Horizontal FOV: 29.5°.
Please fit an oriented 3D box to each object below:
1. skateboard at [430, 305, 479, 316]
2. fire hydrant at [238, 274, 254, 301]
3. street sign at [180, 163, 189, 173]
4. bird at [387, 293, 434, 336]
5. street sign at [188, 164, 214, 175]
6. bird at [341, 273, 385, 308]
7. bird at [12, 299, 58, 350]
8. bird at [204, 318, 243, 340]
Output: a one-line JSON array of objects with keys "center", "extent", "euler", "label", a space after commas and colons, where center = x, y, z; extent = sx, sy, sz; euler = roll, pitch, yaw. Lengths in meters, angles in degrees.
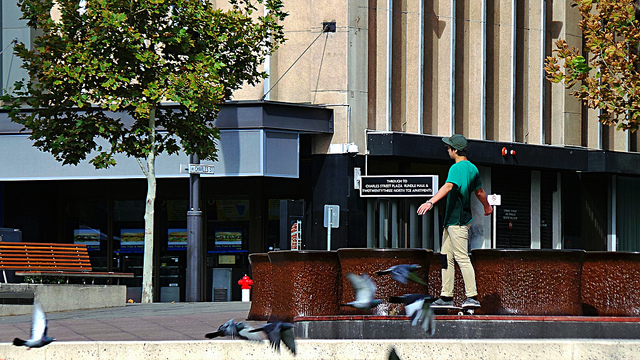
[{"center": [3.179, 2.973, 28.249], "extent": [1.536, 0.211, 0.419], "euler": [-1, -5, 6], "label": "skateboard"}, {"center": [-2.525, 3.580, 40.797], "extent": [0.405, 0.871, 0.570], "euler": [0, -9, -4], "label": "fire hydrant"}, {"center": [-4.286, -0.360, 38.027], "extent": [0.393, 0.256, 0.213], "euler": [1, 2, -3], "label": "street sign"}, {"center": [1.979, 2.683, 25.655], "extent": [0.818, 0.427, 1.076], "euler": [-8, 5, -5], "label": "bird"}, {"center": [-3.801, -0.368, 38.345], "extent": [0.436, 0.339, 0.973], "euler": [-7, -11, 35], "label": "street sign"}, {"center": [0.874, 2.341, 25.306], "extent": [0.701, 0.318, 0.820], "euler": [-7, -40, 17], "label": "bird"}, {"center": [-6.171, 3.288, 25.999], "extent": [0.943, 0.645, 1.216], "euler": [3, 3, -8], "label": "bird"}, {"center": [-2.041, 3.132, 25.705], "extent": [0.673, 0.261, 0.418], "euler": [1, 1, -1], "label": "bird"}]
